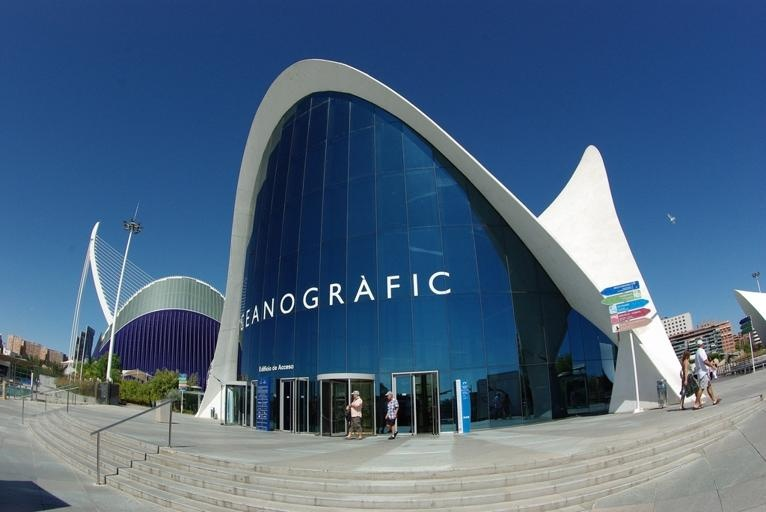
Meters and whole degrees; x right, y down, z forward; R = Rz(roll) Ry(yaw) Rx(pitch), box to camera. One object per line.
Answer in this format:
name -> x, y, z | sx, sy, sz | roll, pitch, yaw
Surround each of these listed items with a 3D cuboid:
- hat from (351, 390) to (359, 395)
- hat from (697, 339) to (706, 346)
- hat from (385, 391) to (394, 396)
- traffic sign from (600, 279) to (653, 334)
hat -> -1.216, 5.645, 19.129 | 0.314, 0.111, 0.234 | -3, -13, 24
hat -> 12.014, 3.295, 17.640 | 0.285, 0.274, 0.282 | -2, 3, -37
hat -> 0.252, 6.459, 21.800 | 0.336, 0.252, 0.493 | -1, -17, 8
traffic sign -> 10.869, 2.215, 20.857 | 1.884, 2.248, 0.892 | 0, 9, 26
